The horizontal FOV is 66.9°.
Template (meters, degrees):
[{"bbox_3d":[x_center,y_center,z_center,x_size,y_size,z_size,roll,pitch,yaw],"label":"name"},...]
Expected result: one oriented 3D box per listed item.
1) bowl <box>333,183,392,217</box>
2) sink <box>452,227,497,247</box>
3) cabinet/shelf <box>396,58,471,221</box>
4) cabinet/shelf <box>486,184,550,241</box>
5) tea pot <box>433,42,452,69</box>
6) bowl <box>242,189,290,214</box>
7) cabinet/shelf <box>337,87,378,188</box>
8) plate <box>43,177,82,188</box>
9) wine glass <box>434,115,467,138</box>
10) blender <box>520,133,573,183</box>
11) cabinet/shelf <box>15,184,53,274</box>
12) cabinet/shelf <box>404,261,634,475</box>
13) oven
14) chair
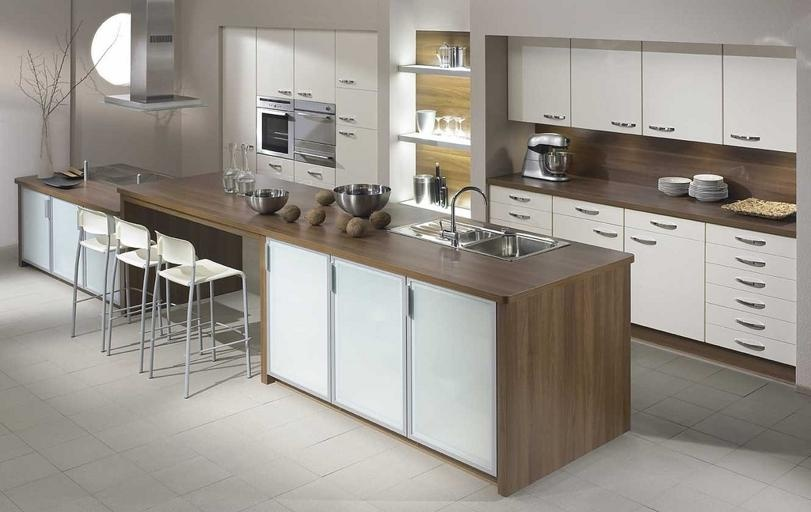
[{"bbox_3d":[-0.365,-0.404,4.845,0.442,0.176,0.453,-8,-10,-1],"label":"bowl"},{"bbox_3d":[0.512,-0.159,4.450,0.173,0.069,0.219,-15,21,-41],"label":"sink"},{"bbox_3d":[0.367,-1.353,7.128,0.929,1.740,0.415,16,27,38],"label":"cabinet/shelf"},{"bbox_3d":[1.257,-0.482,6.189,0.764,0.621,0.428,13,39,30],"label":"cabinet/shelf"},{"bbox_3d":[0.416,-2.210,6.736,0.143,0.285,0.315,0,15,-2],"label":"tea pot"},{"bbox_3d":[-1.139,-0.447,4.956,0.264,0.104,0.268,0,13,0],"label":"bowl"},{"bbox_3d":[-0.476,-1.413,7.270,0.594,1.043,0.247,14,25,35],"label":"cabinet/shelf"},{"bbox_3d":[-3.842,-0.825,6.907,0.436,0.095,0.293,13,19,42],"label":"plate"},{"bbox_3d":[0.490,-1.432,6.845,0.215,0.221,0.547,-12,19,-39],"label":"wine glass"},{"bbox_3d":[1.379,-0.977,6.083,0.477,0.460,0.252,5,16,17],"label":"blender"},{"bbox_3d":[-4.052,-0.336,7.220,0.696,0.934,0.417,15,25,39],"label":"cabinet/shelf"},{"bbox_3d":[0.785,0.708,3.926,1.479,1.320,0.712,-4,16,-15],"label":"cabinet/shelf"},{"bbox_3d":[-1.201,-1.637,7.948,1.349,0.711,0.789,13,20,31],"label":"oven"},{"bbox_3d":[-1.874,0.348,5.521,1.356,1.537,1.169,12,21,36],"label":"chair"}]
